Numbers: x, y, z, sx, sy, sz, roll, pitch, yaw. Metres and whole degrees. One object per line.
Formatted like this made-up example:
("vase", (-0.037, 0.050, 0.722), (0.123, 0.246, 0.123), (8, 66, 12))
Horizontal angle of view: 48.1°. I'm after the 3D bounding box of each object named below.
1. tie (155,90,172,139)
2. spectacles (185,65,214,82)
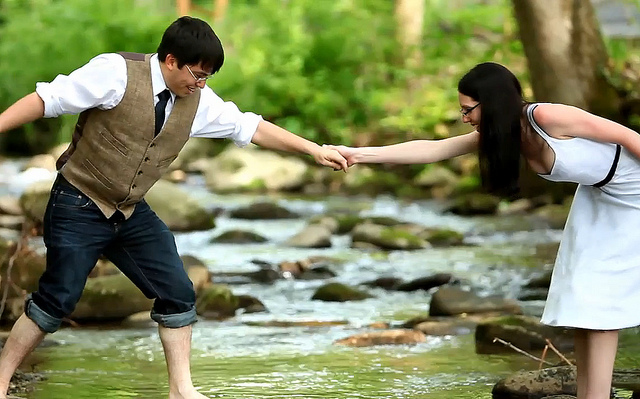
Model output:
("tie", (-1.104, -0.573, 4.775), (0.123, 0.310, 0.021), (-10, 15, -39))
("spectacles", (-0.853, -0.835, 4.717), (0.106, 0.091, 0.030), (-17, -16, -47))
